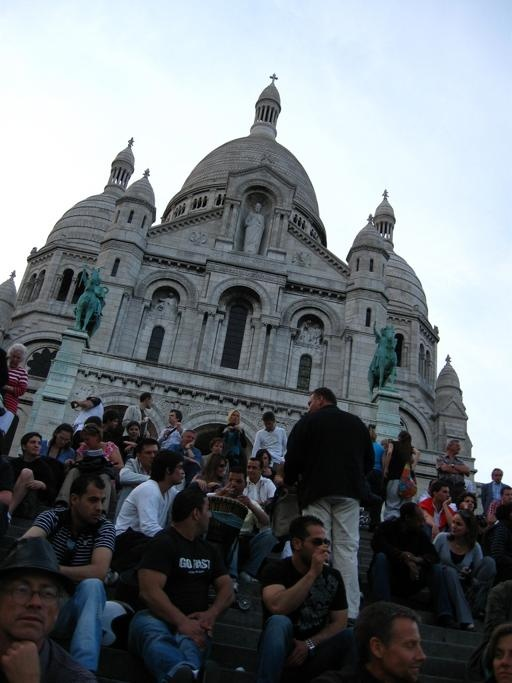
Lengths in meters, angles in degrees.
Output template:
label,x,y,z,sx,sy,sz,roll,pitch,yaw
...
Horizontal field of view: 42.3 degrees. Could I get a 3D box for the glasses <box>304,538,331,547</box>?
label,x,y,z,sx,sy,sz,roll,pitch,yaw
glasses,0.511,1.636,5.437,0.212,0.057,0.189,4,-24,-7

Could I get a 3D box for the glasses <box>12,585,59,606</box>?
label,x,y,z,sx,sy,sz,roll,pitch,yaw
glasses,-1.058,1.232,3.215,0.066,0.081,0.213,-9,-29,40
